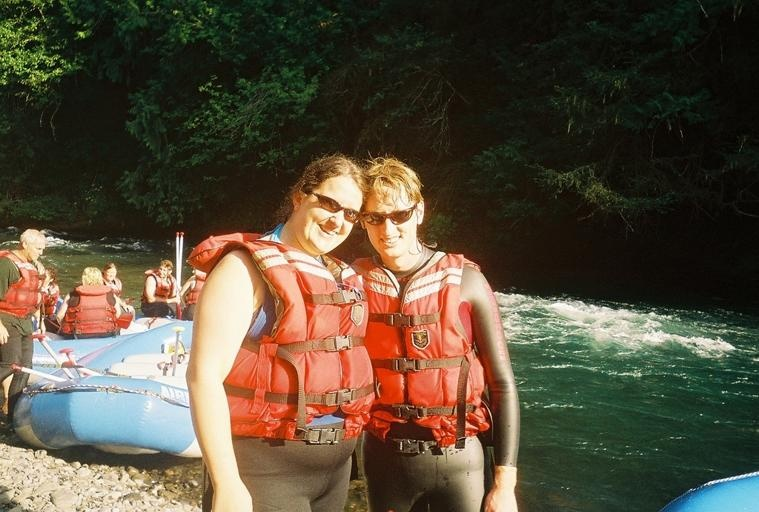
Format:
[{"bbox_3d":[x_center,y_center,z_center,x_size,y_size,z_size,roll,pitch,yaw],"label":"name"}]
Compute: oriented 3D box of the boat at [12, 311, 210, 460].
[{"bbox_3d":[-5.231,2.437,14.528,2.805,2.400,3.734,-1,4,-42],"label":"boat"}]
